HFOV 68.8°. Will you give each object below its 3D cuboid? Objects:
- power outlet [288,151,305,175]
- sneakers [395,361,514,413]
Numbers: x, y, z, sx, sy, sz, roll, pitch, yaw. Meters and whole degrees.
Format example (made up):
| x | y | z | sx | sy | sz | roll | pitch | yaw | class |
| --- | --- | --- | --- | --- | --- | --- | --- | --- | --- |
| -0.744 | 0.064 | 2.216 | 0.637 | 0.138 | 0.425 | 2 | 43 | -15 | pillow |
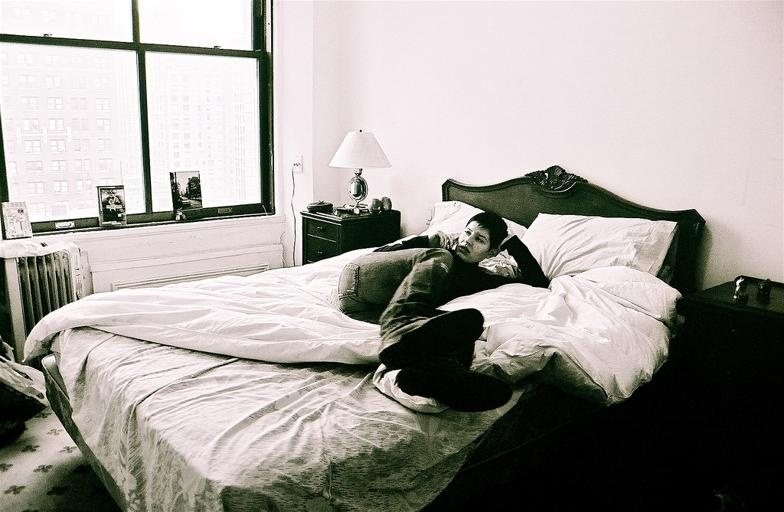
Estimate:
| x | y | z | sx | sy | sz | roll | pitch | yaw | class |
| --- | --- | --- | --- | --- | --- | --- | --- | --- | --- |
| -0.814 | -0.816 | 4.979 | 0.021 | 0.195 | 0.198 | -8 | 15 | -43 | power outlet |
| 0.253 | 0.528 | 2.310 | 0.290 | 0.084 | 0.244 | 4 | 1 | 17 | sneakers |
